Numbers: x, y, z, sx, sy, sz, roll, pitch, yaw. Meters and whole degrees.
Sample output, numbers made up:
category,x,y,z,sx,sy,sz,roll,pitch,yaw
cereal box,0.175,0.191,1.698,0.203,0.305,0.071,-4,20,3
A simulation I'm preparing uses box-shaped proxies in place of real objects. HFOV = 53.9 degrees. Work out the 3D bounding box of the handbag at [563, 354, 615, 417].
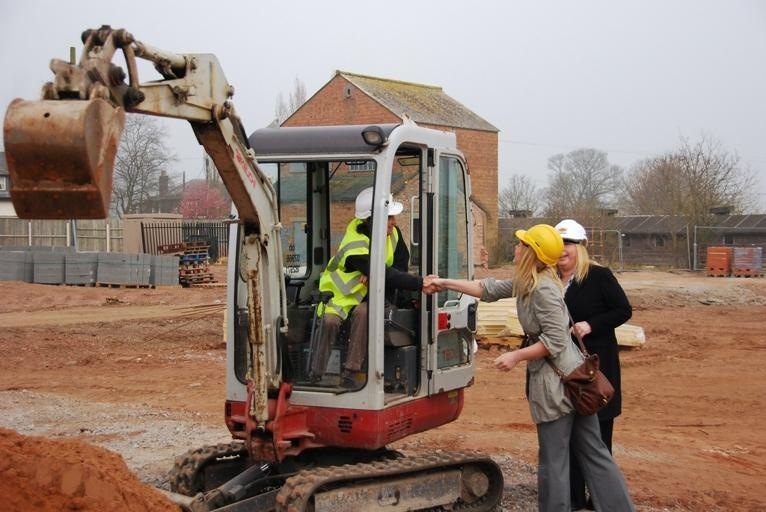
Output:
category,x,y,z,sx,sy,sz,roll,pitch,yaw
handbag,1.843,1.140,6.816,0.447,0.531,0.291,-27,-6,-31

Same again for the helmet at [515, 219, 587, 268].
category,x,y,z,sx,sy,sz,roll,pitch,yaw
helmet,1.485,-0.156,6.926,0.604,0.292,0.442,22,20,31

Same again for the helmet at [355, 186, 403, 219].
category,x,y,z,sx,sy,sz,roll,pitch,yaw
helmet,-0.081,-0.518,7.741,0.407,0.229,0.326,-7,13,11
